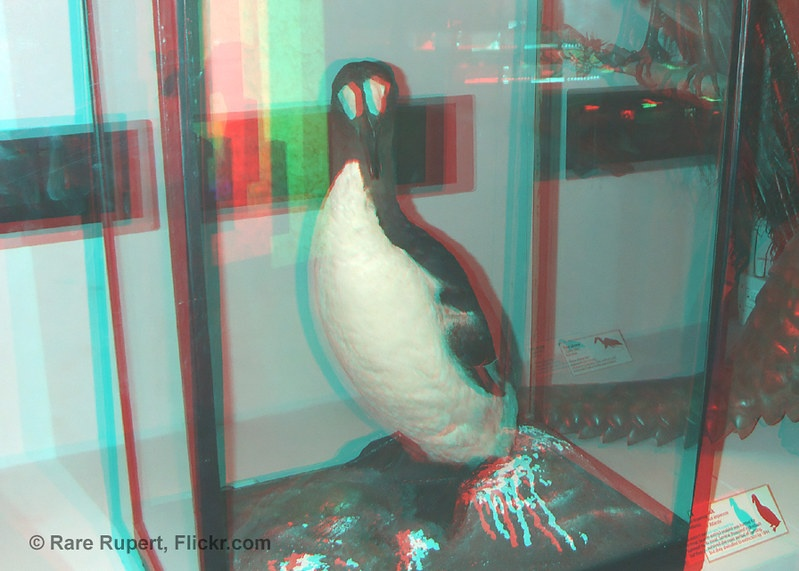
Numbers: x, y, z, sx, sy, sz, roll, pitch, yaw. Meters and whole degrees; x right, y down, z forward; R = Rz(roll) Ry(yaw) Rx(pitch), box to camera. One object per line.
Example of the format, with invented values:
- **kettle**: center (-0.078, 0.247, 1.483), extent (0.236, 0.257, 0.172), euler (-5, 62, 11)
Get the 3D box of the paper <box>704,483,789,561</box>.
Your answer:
- **paper**: center (0.730, 0.500, 1.571), extent (0.193, 0.125, 0.008), euler (-14, -9, -17)
